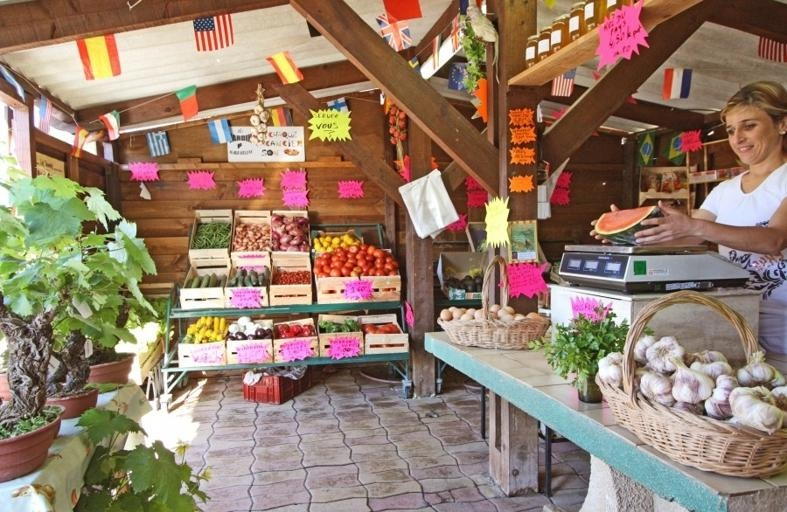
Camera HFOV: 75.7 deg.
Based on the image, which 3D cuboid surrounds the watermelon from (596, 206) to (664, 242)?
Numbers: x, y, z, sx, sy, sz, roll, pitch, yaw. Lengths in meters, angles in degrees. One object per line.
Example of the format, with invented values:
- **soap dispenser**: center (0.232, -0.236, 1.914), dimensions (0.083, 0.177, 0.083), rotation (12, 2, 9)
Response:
- **watermelon**: center (1.121, -0.148, 2.439), dimensions (0.299, 0.180, 0.269), rotation (3, 7, 33)

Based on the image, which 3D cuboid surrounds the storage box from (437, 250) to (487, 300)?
- **storage box**: center (0.800, 0.243, 6.052), dimensions (0.537, 0.210, 0.610), rotation (0, 35, 5)

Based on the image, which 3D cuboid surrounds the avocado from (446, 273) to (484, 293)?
- **avocado**: center (0.826, 0.319, 5.922), dimensions (0.266, 0.086, 0.256), rotation (3, 7, 39)

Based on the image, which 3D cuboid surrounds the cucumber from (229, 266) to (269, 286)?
- **cucumber**: center (-1.600, 0.243, 5.627), dimensions (0.297, 0.096, 0.277), rotation (-1, 32, -3)

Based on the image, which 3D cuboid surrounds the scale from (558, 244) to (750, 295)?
- **scale**: center (1.300, 0.061, 2.637), dimensions (0.745, 0.191, 0.721), rotation (1, 0, 2)

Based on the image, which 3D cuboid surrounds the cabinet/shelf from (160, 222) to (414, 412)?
- **cabinet/shelf**: center (-1.211, 0.737, 5.731), dimensions (2.406, 1.385, 0.878), rotation (-2, 1, -9)

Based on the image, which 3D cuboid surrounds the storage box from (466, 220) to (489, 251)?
- **storage box**: center (1.133, -0.267, 6.878), dimensions (0.308, 0.364, 0.131), rotation (2, -15, 10)

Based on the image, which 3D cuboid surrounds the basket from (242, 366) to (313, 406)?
- **basket**: center (-1.271, 1.436, 5.741), dimensions (0.384, 0.234, 0.592), rotation (0, 4, 15)

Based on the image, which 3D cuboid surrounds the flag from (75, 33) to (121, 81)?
- **flag**: center (-2.216, -1.489, 3.821), dimensions (0.373, 0.321, 0.085), rotation (-12, 13, -7)

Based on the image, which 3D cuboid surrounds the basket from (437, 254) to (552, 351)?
- **basket**: center (0.565, 0.276, 2.965), dimensions (0.656, 0.447, 0.496), rotation (-1, 0, 21)

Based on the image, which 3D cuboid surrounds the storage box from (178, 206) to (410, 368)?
- **storage box**: center (-1.252, 0.239, 6.015), dimensions (2.337, 1.197, 1.502), rotation (-2, 5, -11)
